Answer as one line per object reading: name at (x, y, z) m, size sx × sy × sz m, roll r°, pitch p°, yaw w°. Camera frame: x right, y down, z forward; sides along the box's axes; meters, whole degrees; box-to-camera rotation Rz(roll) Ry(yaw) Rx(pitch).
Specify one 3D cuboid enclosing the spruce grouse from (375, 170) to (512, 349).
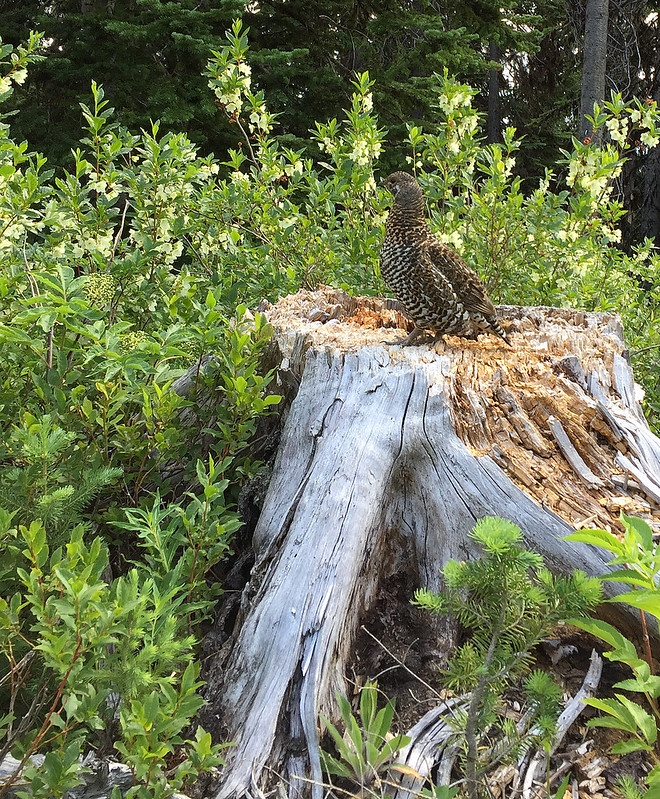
spruce grouse at (0.393, -0.558, 3.392) m, size 0.425 × 0.653 × 0.557 m, roll -13°, pitch 22°, yaw -26°
